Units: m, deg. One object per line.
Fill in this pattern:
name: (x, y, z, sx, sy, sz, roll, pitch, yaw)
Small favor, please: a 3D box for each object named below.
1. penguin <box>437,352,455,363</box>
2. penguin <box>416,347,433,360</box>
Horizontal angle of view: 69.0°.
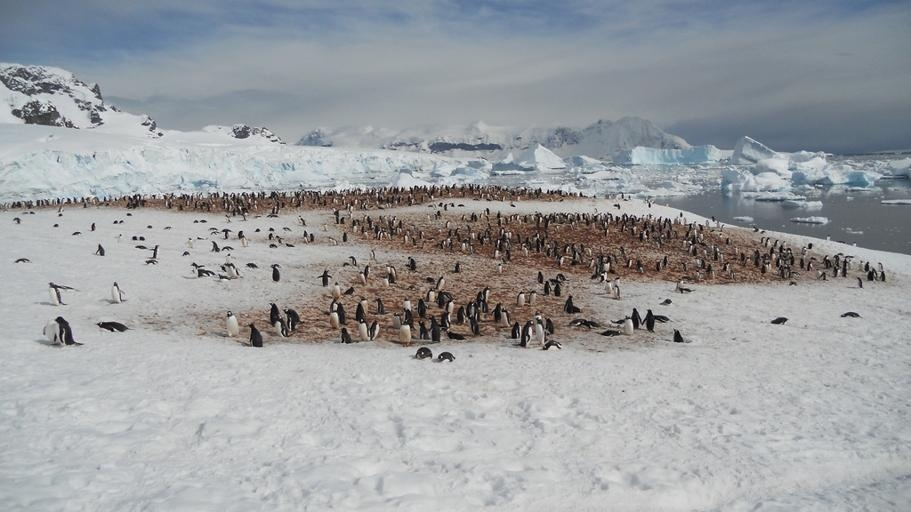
penguin: (-0.357, 3.873, 25.173, 0.613, 0.261, 0.365, 1, -6, 7)
penguin: (-1.221, 3.739, 25.403, 0.665, 0.375, 0.533, -2, 6, -4)
